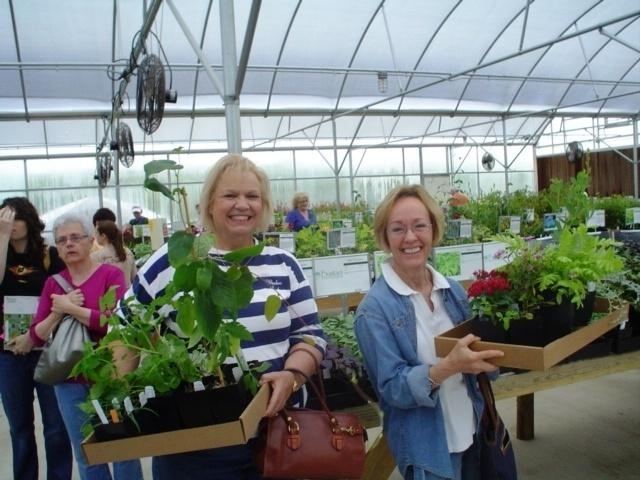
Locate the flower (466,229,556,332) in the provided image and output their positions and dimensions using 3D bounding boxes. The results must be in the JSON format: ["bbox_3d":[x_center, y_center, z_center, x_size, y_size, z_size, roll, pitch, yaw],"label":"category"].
[{"bbox_3d":[0.907,0.187,2.441,0.395,0.547,0.385,3,13,17],"label":"flower"}]

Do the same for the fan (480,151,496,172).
[{"bbox_3d":[6.195,-2.898,18.669,0.368,0.642,1.033,-4,0,16],"label":"fan"}]

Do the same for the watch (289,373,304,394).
[{"bbox_3d":[-0.098,0.611,2.175,0.081,0.067,0.031,-1,29,-8],"label":"watch"}]

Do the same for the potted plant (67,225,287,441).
[{"bbox_3d":[-0.533,0.352,1.977,0.776,0.803,0.458,-4,0,15],"label":"potted plant"}]
